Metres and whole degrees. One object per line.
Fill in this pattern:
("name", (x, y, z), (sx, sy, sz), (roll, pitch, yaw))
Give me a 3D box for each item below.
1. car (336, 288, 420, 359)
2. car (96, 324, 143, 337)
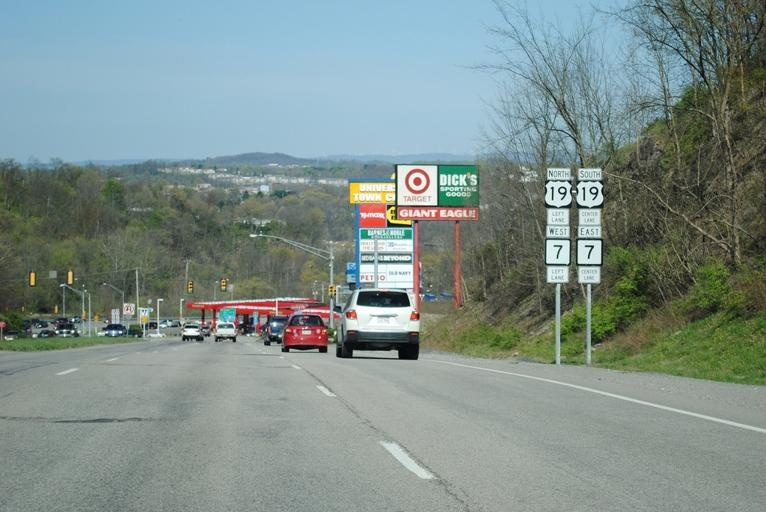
("car", (-0.169, 2.388, 34.967), (2.901, 2.429, 1.928), (-3, -4, 11))
("car", (-28.105, 7.970, 105.287), (1.571, 1.211, 3.284), (-2, -11, 10))
